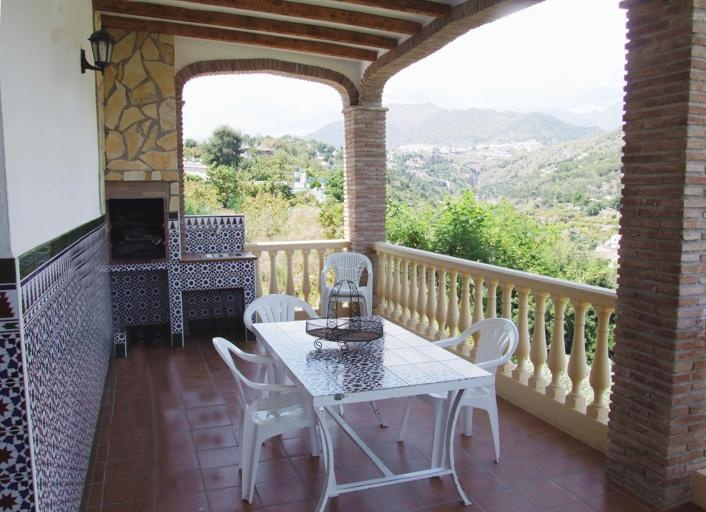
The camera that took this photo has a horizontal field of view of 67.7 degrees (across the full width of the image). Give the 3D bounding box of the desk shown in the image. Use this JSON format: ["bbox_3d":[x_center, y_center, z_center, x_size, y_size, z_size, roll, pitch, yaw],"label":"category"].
[{"bbox_3d":[0.065,1.145,4.019,1.258,0.989,1.559,-5,11,-22],"label":"desk"}]

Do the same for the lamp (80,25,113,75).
[{"bbox_3d":[-2.562,-2.069,5.302,0.331,0.446,0.258,0,0,4],"label":"lamp"}]
